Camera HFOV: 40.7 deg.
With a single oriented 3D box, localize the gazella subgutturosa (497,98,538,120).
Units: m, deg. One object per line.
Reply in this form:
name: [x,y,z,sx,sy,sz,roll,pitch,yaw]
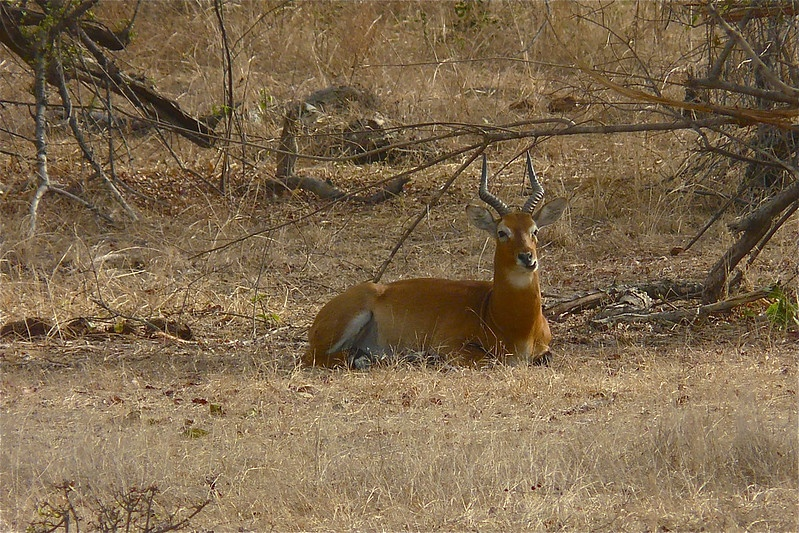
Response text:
gazella subgutturosa: [2.174,-2.888,19.446,0.467,0.329,1.053,1,7,5]
